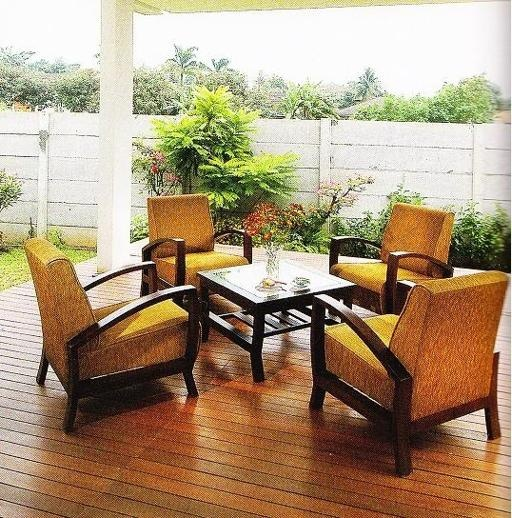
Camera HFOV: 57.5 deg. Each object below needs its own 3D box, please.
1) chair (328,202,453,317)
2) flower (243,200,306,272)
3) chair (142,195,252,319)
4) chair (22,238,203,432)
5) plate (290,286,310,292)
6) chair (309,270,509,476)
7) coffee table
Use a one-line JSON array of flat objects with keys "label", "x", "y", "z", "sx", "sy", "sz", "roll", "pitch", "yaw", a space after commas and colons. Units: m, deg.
[{"label": "chair", "x": 1.157, "y": 0.013, "z": 3.853, "sx": 0.692, "sy": 0.763, "sz": 1.167, "roll": -7, "pitch": 13, "yaw": -16}, {"label": "flower", "x": 0.273, "y": -0.259, "z": 6.490, "sx": 0.923, "sy": 0.983, "sz": 0.696, "roll": 4, "pitch": -5, "yaw": 2}, {"label": "chair", "x": -0.537, "y": -0.059, "z": 4.242, "sx": 0.803, "sy": 1.003, "sz": 0.629, "roll": -12, "pitch": 22, "yaw": -41}, {"label": "chair", "x": -0.788, "y": 0.335, "z": 2.603, "sx": 0.867, "sy": 0.822, "sz": 0.614, "roll": -4, "pitch": 16, "yaw": -36}, {"label": "plate", "x": 0.308, "y": 0.207, "z": 3.180, "sx": 0.152, "sy": 0.015, "sz": 0.098, "roll": -1, "pitch": 12, "yaw": -15}, {"label": "chair", "x": 0.693, "y": 0.356, "z": 2.327, "sx": 0.778, "sy": 0.938, "sz": 0.984, "roll": -6, "pitch": 14, "yaw": -26}, {"label": "coffee table", "x": 0.135, "y": 0.400, "z": 3.502, "sx": 0.939, "sy": 0.505, "sz": 0.876, "roll": -8, "pitch": 15, "yaw": -35}]
